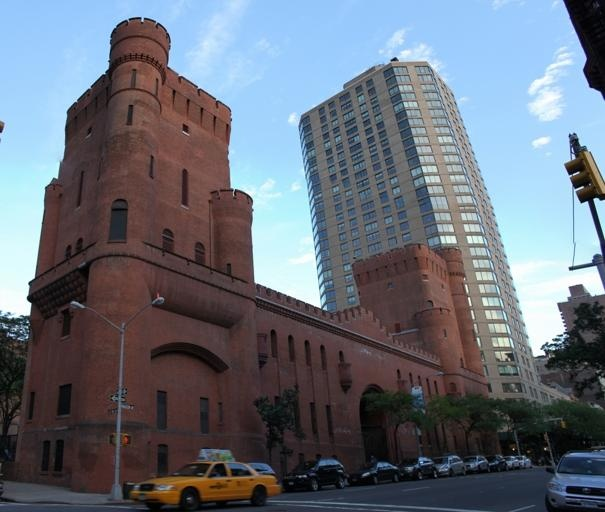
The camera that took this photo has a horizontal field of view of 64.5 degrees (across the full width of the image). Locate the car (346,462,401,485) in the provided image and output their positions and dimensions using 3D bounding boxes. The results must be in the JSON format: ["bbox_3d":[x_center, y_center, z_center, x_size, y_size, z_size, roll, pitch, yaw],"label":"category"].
[{"bbox_3d":[4.825,14.666,32.333,1.507,1.345,4.038,-23,-27,36],"label":"car"}]

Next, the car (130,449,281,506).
[{"bbox_3d":[-3.137,7.956,16.522,1.061,1.669,4.807,-24,-28,36],"label":"car"}]

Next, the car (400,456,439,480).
[{"bbox_3d":[8.712,16.030,36.176,1.036,1.500,3.605,-25,-29,38],"label":"car"}]

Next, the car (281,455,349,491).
[{"bbox_3d":[0.708,13.044,28.468,3.659,1.638,1.562,11,-28,-36],"label":"car"}]

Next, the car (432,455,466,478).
[{"bbox_3d":[11.727,16.771,38.440,1.572,1.189,2.728,-26,-46,32],"label":"car"}]
